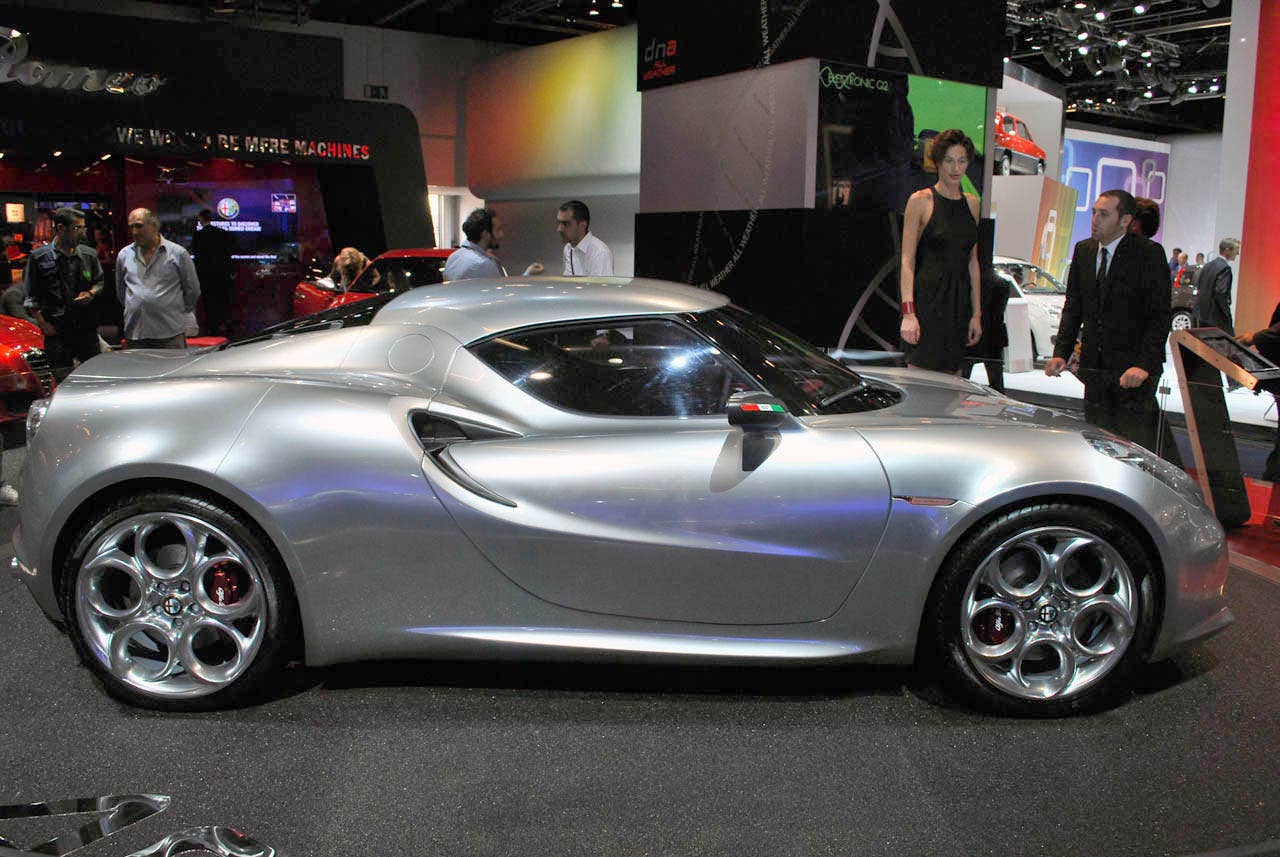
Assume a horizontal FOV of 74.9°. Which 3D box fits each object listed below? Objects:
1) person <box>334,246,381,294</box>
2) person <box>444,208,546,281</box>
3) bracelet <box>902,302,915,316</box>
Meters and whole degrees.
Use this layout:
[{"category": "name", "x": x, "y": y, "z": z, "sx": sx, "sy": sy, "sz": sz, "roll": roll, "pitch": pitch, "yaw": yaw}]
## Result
[{"category": "person", "x": -4.046, "y": -2.260, "z": 11.957, "sx": 0.543, "sy": 0.454, "sz": 1.068, "roll": -10, "pitch": 27, "yaw": -7}, {"category": "person", "x": -1.333, "y": -1.477, "z": 6.668, "sx": 0.458, "sy": 0.539, "sz": 1.694, "roll": -3, "pitch": 15, "yaw": -12}, {"category": "bracelet", "x": 1.859, "y": -0.834, "z": 5.792, "sx": 0.076, "sy": 0.082, "sz": 0.076, "roll": 0, "pitch": -2, "yaw": -9}]
